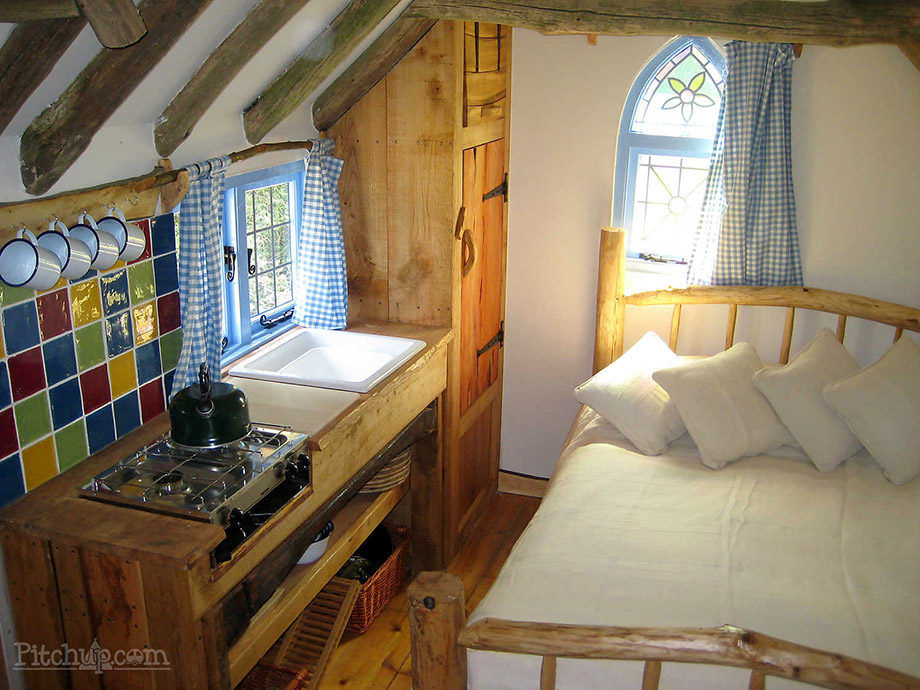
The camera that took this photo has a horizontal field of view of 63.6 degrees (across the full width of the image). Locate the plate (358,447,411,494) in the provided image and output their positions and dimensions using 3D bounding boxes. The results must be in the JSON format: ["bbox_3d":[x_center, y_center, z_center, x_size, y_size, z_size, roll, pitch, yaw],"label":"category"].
[{"bbox_3d":[-0.336,0.542,3.316,0.186,0.122,0.187,-10,8,-41],"label":"plate"}]

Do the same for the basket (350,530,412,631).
[{"bbox_3d":[-0.349,1.090,3.436,0.093,0.277,0.486,6,15,23],"label":"basket"}]

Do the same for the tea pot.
[{"bbox_3d":[-0.808,0.172,2.388,0.231,0.245,0.250,5,22,-2],"label":"tea pot"}]

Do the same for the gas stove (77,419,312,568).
[{"bbox_3d":[-0.815,0.446,2.350,0.530,0.224,0.462,4,14,17],"label":"gas stove"}]
